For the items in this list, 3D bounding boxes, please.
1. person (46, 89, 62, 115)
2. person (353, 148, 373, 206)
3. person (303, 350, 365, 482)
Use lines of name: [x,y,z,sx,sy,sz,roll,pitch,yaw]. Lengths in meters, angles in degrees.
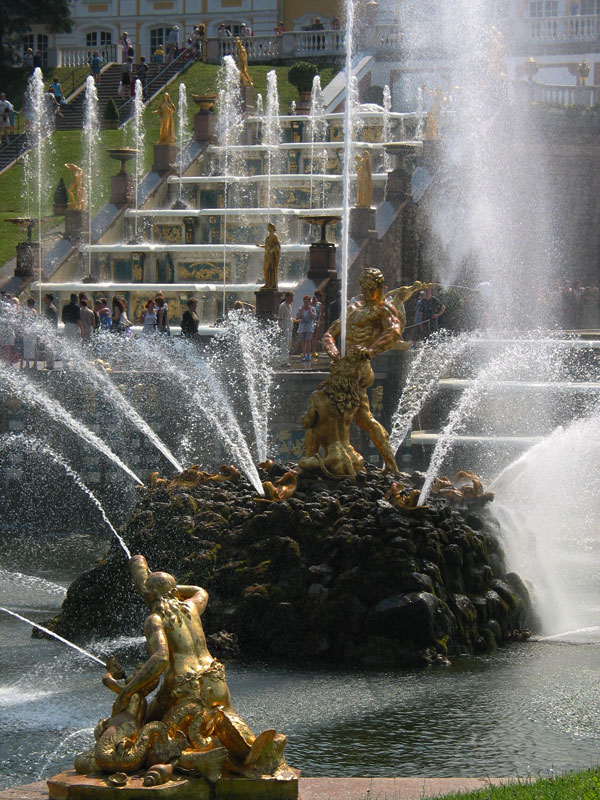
person: [-6.074,-7.279,34.181,0.342,0.788,0.901,0,1,-10]
person: [0.910,-3.174,20.095,0.195,0.878,0.561,0,1,4]
person: [0.235,0.097,9.746,0.447,0.857,0.410,0,1,1]
